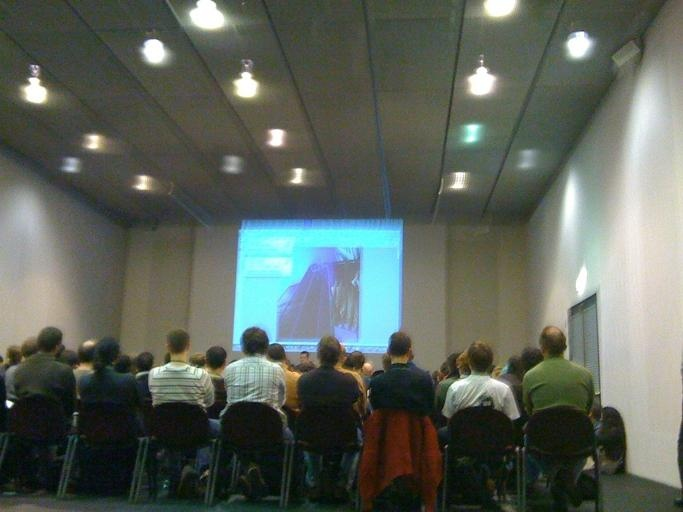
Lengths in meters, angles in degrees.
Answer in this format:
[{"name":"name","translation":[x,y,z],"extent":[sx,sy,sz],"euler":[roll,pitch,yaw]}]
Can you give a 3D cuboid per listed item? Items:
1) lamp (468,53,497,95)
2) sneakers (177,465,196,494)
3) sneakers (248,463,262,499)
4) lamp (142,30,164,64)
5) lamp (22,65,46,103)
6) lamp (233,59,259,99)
[{"name":"lamp","translation":[1.535,-1.970,5.890],"extent":[0.239,0.367,0.248],"euler":[0,-2,18]},{"name":"sneakers","translation":[-1.199,1.755,4.222],"extent":[0.078,0.246,0.100],"euler":[10,2,-15]},{"name":"sneakers","translation":[-0.653,1.729,4.182],"extent":[0.102,0.254,0.102],"euler":[1,-3,1]},{"name":"lamp","translation":[-1.942,-2.142,5.635],"extent":[0.173,0.248,0.174],"euler":[-6,-35,-43]},{"name":"lamp","translation":[-3.455,-1.949,6.097],"extent":[0.240,0.444,0.211],"euler":[-3,-16,-3]},{"name":"lamp","translation":[-1.072,-1.996,6.149],"extent":[0.230,0.243,0.363],"euler":[7,28,-5]}]
